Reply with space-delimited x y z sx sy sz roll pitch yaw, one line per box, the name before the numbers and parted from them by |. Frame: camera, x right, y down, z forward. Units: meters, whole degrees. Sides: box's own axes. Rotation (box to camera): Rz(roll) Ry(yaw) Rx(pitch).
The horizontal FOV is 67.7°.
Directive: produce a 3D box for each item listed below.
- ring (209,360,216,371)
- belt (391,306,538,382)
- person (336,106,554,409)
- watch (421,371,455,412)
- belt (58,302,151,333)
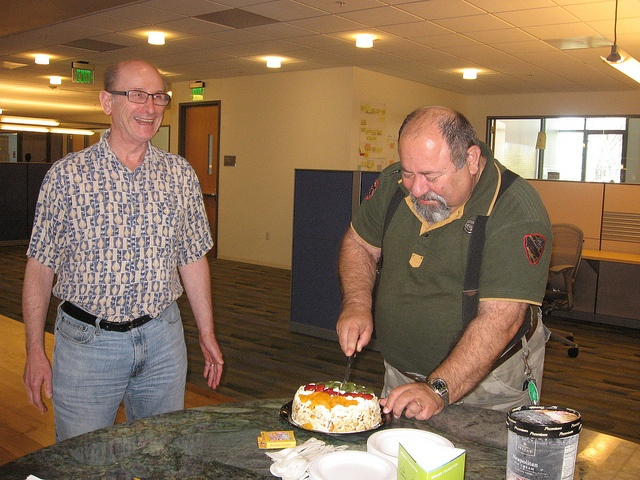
ring | -0.479 0.564 2.121 0.032 0.031 0.010 -4 1 19
belt | 0.616 0.343 1.705 0.418 0.104 0.307 -16 11 -26
person | 0.371 0.111 1.687 0.797 1.146 0.731 3 4 24
watch | 0.371 0.461 1.468 0.102 0.100 0.066 -31 7 -4
belt | -0.818 0.306 1.784 0.185 0.041 0.160 23 -22 -30
